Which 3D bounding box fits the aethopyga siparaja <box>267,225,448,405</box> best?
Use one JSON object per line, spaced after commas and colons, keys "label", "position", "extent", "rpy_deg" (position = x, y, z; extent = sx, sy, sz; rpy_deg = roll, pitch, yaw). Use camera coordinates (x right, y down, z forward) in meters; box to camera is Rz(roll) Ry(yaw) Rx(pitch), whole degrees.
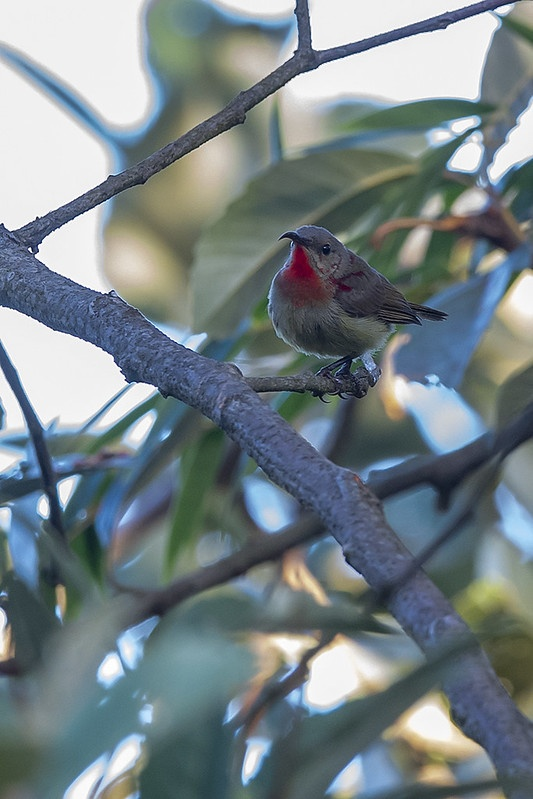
{"label": "aethopyga siparaja", "position": [0.179, -0.235, 2.027], "extent": [0.453, 0.234, 0.291], "rpy_deg": [-2, -94, -32]}
